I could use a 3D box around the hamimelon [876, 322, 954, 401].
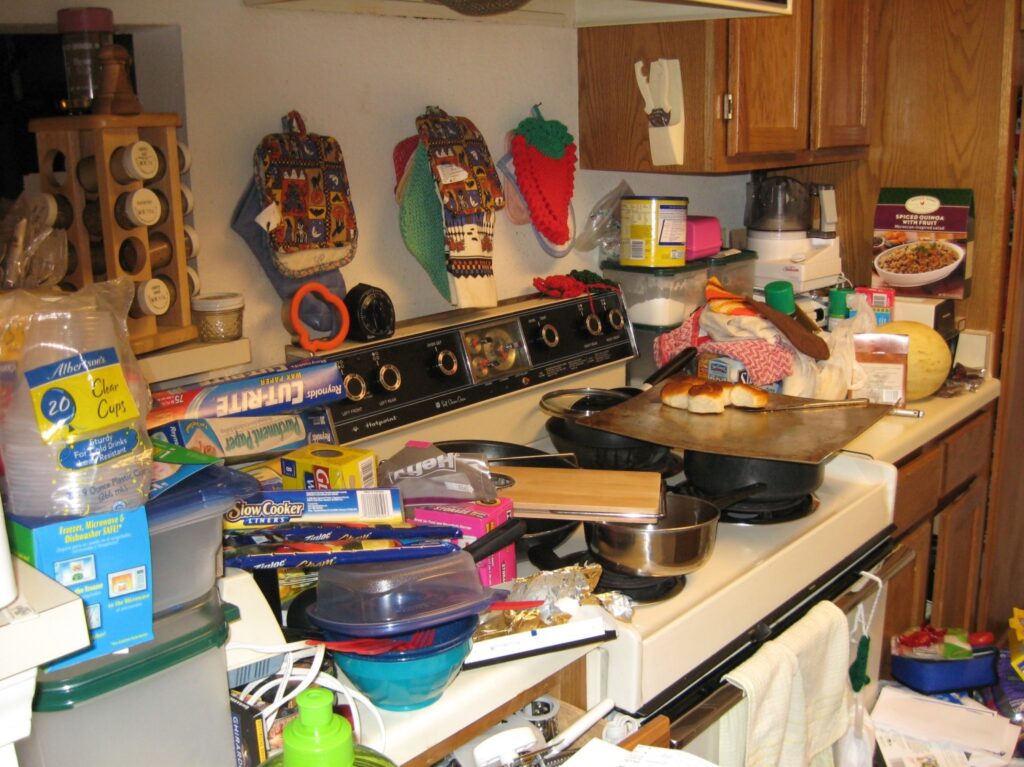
[{"bbox_3d":[1.126,-0.073,2.255,0.252,0.225,0.230,-3,16,20],"label":"hamimelon"}]

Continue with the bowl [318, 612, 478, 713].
[{"bbox_3d":[-0.121,0.320,0.945,0.143,0.074,0.134,-7,-1,0],"label":"bowl"}]

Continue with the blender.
[{"bbox_3d":[0.919,-0.509,2.589,0.269,0.363,0.353,-26,29,-31],"label":"blender"}]

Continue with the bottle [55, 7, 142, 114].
[{"bbox_3d":[-0.689,-0.543,1.292,0.101,0.187,0.205,-13,17,-25],"label":"bottle"}]
